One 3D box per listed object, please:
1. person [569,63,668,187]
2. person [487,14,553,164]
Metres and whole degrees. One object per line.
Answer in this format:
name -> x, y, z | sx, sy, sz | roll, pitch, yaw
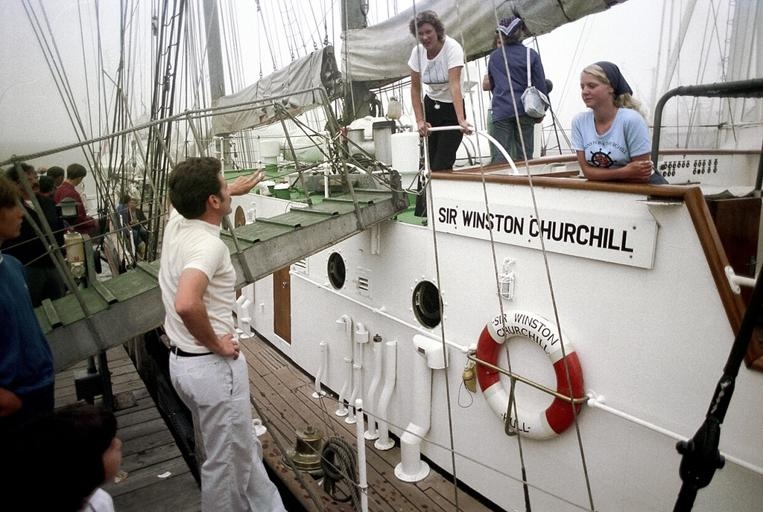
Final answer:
person -> 1.636, -0.941, 3.219 | 0.503, 0.835, 0.302 | 3, 15, 21
person -> 1.418, -1.612, 4.795 | 0.525, 1.630, 0.502 | 4, 27, 25
